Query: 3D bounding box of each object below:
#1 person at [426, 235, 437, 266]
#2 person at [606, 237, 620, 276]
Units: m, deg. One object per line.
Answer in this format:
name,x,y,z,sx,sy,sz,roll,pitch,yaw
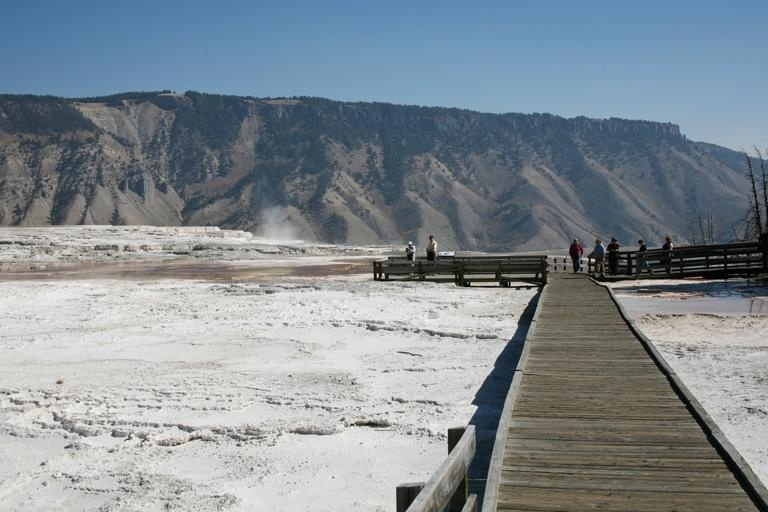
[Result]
person,2.194,-0.400,37.605,0.435,1.131,1.023,-5,9,1
person,10.170,-0.043,36.037,0.484,1.575,0.936,-3,10,13
